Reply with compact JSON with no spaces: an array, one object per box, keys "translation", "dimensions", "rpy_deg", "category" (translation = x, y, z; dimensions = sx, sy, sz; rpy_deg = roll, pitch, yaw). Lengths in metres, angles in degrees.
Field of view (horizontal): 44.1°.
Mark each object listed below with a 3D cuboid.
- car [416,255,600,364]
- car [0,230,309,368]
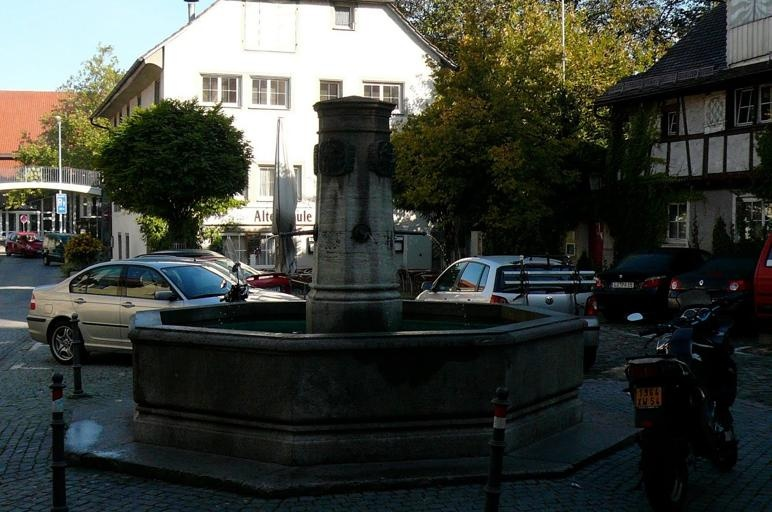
[{"translation":[2.440,0.976,18.287],"dimensions":[1.973,1.390,3.316],"rpy_deg":[0,4,-25],"category":"car"},{"translation":[-4.831,0.956,18.948],"dimensions":[5.484,1.687,2.324],"rpy_deg":[-2,1,10],"category":"car"}]
